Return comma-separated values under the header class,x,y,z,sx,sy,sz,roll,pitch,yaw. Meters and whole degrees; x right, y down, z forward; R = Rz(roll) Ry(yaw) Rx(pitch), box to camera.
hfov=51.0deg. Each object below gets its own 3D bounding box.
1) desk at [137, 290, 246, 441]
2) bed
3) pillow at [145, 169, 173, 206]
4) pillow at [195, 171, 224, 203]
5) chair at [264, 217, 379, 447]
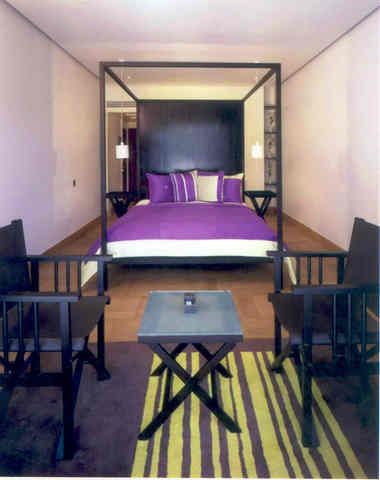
class,x,y,z,sx,sy,sz,roll,pitch,yaw
desk,0.029,0.485,1.495,0.363,0.327,0.497,-2,-6,10
bed,0.039,-0.353,2.772,1.375,1.472,1.393,0,9,0
pillow,-0.256,-0.425,3.138,0.264,0.271,0.087,1,9,-1
pillow,0.161,-0.430,3.178,0.225,0.246,0.088,2,17,8
chair,0.420,0.217,1.678,0.566,0.925,0.738,0,7,5
